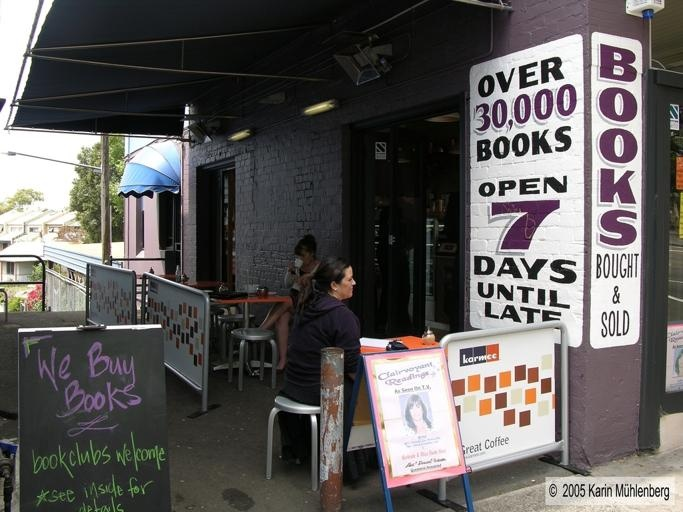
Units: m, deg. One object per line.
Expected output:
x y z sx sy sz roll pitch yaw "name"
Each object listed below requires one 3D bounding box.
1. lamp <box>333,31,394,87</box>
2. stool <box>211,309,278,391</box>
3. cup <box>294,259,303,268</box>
0.253 -2.181 6.751 0.544 0.544 0.216 -30 2 26 "lamp"
-1.116 1.097 7.340 0.641 0.828 0.816 0 2 0 "stool"
-0.518 0.077 7.406 0.079 0.091 0.110 2 -2 -16 "cup"
